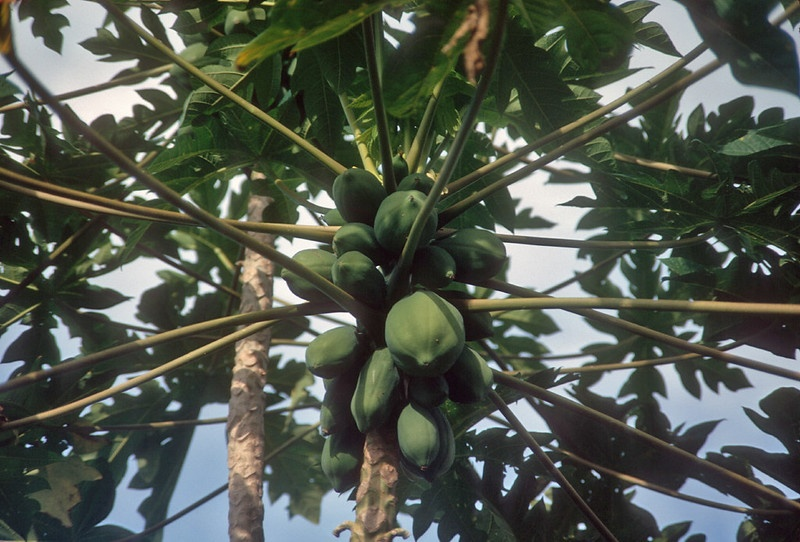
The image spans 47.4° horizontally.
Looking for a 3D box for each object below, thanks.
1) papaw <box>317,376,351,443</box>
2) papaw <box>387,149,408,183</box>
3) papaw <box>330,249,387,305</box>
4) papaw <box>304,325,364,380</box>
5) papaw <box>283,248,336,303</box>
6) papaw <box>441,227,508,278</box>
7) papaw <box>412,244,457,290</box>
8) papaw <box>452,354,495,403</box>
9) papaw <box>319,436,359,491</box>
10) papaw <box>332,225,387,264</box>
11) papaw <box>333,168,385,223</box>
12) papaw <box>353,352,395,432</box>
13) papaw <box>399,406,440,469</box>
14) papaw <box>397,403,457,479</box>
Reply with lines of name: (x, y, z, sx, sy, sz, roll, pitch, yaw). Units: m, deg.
papaw: (-0.368, 0.793, 5.294, 0.177, 0.218, 0.367, 7, -59, -2)
papaw: (-0.018, -0.663, 5.665, 0.073, 0.221, 0.080, -25, -44, 17)
papaw: (-0.225, 0.041, 5.275, 0.350, 0.203, 0.214, 39, -98, -20)
papaw: (-0.386, 0.447, 5.274, 0.367, 0.222, 0.211, -33, -61, -24)
papaw: (-0.498, 0.032, 5.071, 0.260, 0.188, 0.157, 29, -75, -24)
papaw: (0.444, -0.106, 5.404, 0.389, 0.230, 0.258, 16, -38, 2)
papaw: (0.195, -0.036, 5.331, 0.197, 0.263, 0.204, -26, -47, -21)
papaw: (0.409, 0.611, 5.223, 0.226, 0.174, 0.281, -10, -86, -11)
papaw: (-0.342, 1.118, 5.345, 0.229, 0.231, 0.350, 7, -59, -3)
papaw: (-0.224, -0.152, 5.374, 0.309, 0.164, 0.172, 19, -41, -28)
papaw: (-0.230, -0.441, 5.493, 0.268, 0.229, 0.363, -14, -71, 4)
papaw: (-0.112, 0.650, 5.168, 0.227, 0.455, 0.234, 17, -29, 8)
papaw: (0.121, 0.930, 5.186, 0.226, 0.208, 0.334, -23, -106, 3)
papaw: (0.147, 0.976, 5.165, 0.322, 0.250, 0.414, -22, -80, 4)
